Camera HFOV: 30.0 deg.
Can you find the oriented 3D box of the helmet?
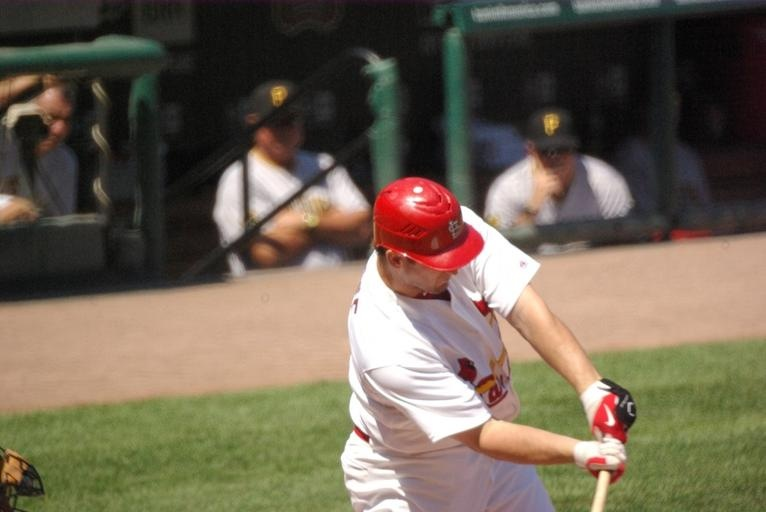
[{"bbox_3d":[0.210,-0.167,7.126,0.547,0.285,0.394,21,52,23],"label":"helmet"}]

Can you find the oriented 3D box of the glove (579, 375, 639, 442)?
[{"bbox_3d":[1.097,0.755,7.030,0.238,0.304,0.145,-38,-20,20],"label":"glove"}]

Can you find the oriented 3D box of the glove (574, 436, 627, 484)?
[{"bbox_3d":[1.056,0.994,6.952,0.224,0.099,0.211,4,52,2],"label":"glove"}]
